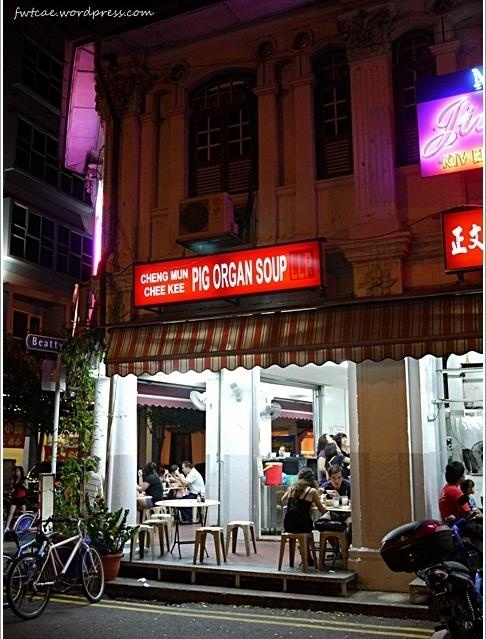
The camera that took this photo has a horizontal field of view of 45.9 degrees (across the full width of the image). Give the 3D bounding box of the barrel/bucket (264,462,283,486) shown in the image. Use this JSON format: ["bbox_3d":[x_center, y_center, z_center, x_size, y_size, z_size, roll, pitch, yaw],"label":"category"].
[{"bbox_3d":[0.602,3.126,11.546,0.346,0.504,0.388,0,-9,1],"label":"barrel/bucket"}]

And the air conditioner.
[{"bbox_3d":[-0.600,-1.580,8.974,1.085,0.901,0.640,-11,-24,34],"label":"air conditioner"}]

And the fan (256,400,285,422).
[{"bbox_3d":[0.553,1.921,12.003,0.228,0.380,0.715,-7,-15,32],"label":"fan"}]

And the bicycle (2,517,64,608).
[{"bbox_3d":[-2.386,2.911,6.629,0.525,0.799,1.167,0,-3,1],"label":"bicycle"}]

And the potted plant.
[{"bbox_3d":[-2.015,3.227,8.438,0.916,1.444,0.891,11,-20,-38],"label":"potted plant"}]

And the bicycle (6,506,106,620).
[{"bbox_3d":[-2.274,3.012,6.795,0.656,0.945,1.438,-4,-4,25],"label":"bicycle"}]

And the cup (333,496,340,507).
[{"bbox_3d":[1.404,2.765,8.646,0.091,0.168,0.088,-1,-8,0],"label":"cup"}]
